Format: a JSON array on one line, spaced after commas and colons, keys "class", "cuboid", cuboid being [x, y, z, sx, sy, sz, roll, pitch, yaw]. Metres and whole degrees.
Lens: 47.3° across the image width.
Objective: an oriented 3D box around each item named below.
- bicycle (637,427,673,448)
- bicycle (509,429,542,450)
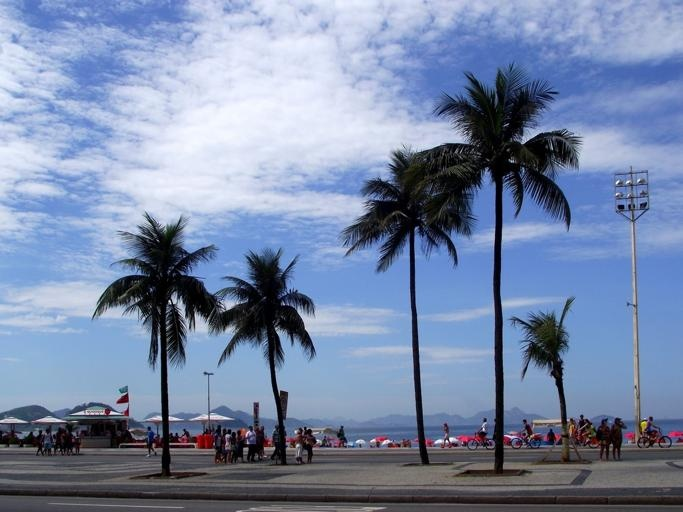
[{"class": "bicycle", "cuboid": [18.850, 10.843, 46.262, 2.073, 1.147, 0.969, -3, -7, 2]}, {"class": "bicycle", "cuboid": [12.066, 11.890, 50.652, 1.941, 1.095, 1.011, 0, -24, 9]}]
